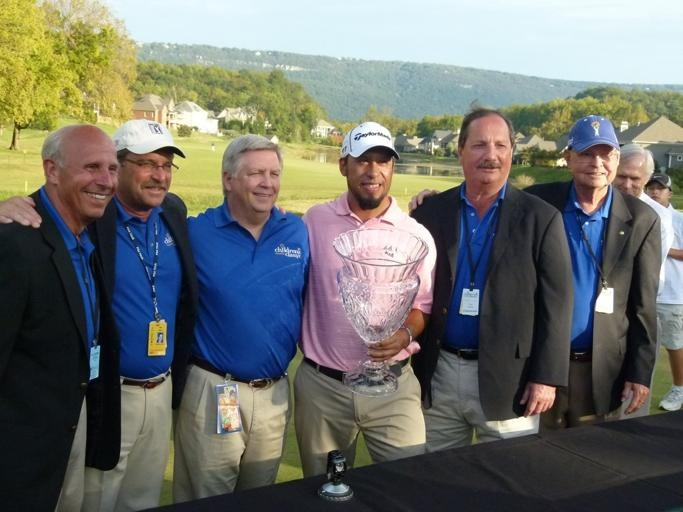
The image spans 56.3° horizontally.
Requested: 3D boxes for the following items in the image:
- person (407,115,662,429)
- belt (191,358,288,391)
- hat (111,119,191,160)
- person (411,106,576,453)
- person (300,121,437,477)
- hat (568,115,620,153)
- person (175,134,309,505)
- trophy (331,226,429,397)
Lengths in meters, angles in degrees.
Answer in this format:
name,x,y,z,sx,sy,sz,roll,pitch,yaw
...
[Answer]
name,x,y,z,sx,sy,sz,roll,pitch,yaw
person,1.576,0.197,4.633,1.023,3.159,1.048,0,3,-8
belt,-0.643,0.666,3.873,0.379,0.200,0.472,0,4,-1
hat,-1.146,-0.699,3.765,0.360,0.184,0.277,6,8,29
person,0.929,0.254,4.149,0.798,2.453,0.802,0,4,-8
person,0.137,0.334,4.043,1.042,2.358,0.789,1,10,-2
hat,1.774,-0.857,4.462,0.322,0.257,0.498,1,5,16
person,-0.649,0.467,4.084,0.782,2.312,0.763,-1,4,-30
trophy,0.216,0.297,3.673,0.556,0.929,0.696,2,0,15
